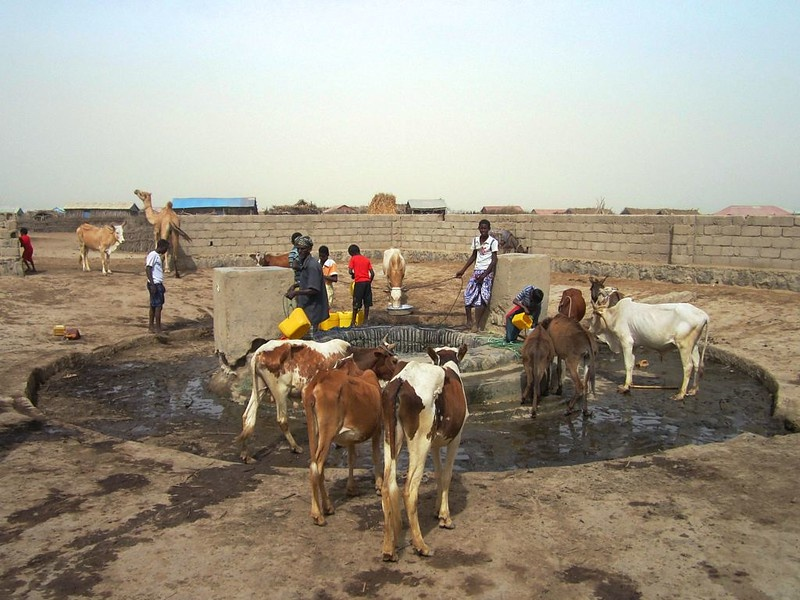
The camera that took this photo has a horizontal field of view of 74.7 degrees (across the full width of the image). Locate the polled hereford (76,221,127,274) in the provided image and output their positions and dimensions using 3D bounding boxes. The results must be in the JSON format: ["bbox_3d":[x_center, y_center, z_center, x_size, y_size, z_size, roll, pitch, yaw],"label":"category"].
[{"bbox_3d":[-10.564,-1.811,18.323,1.252,1.647,3.582,-4,7,-32],"label":"polled hereford"}]

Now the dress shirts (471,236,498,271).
[{"bbox_3d":[1.607,-0.885,10.127,0.315,0.678,0.507,-6,9,-44],"label":"dress shirts"}]

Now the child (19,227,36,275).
[{"bbox_3d":[-12.160,-1.619,16.962,0.371,1.401,1.990,-4,8,-35],"label":"child"}]

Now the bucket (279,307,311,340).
[{"bbox_3d":[-1.584,0.365,7.863,0.314,0.229,0.316,-27,30,17],"label":"bucket"}]

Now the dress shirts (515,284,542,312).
[{"bbox_3d":[2.227,-0.017,9.088,0.245,0.262,0.596,-19,-19,4],"label":"dress shirts"}]

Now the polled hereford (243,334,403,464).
[{"bbox_3d":[-0.950,1.226,6.709,2.301,1.452,0.700,0,-3,-33],"label":"polled hereford"}]

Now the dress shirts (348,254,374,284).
[{"bbox_3d":[-0.899,-0.713,11.908,0.477,0.624,0.459,-2,6,-15],"label":"dress shirts"}]

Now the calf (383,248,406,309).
[{"bbox_3d":[-0.174,-0.625,14.108,0.529,1.480,2.761,0,6,-1],"label":"calf"}]

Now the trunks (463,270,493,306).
[{"bbox_3d":[1.533,-0.200,10.139,0.554,0.711,0.255,2,7,18],"label":"trunks"}]

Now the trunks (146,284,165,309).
[{"bbox_3d":[-5.901,-0.071,12.542,0.345,0.598,0.451,-15,26,-37],"label":"trunks"}]

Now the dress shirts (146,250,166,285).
[{"bbox_3d":[-5.580,-0.733,11.802,0.309,0.742,0.443,-4,7,-31],"label":"dress shirts"}]
